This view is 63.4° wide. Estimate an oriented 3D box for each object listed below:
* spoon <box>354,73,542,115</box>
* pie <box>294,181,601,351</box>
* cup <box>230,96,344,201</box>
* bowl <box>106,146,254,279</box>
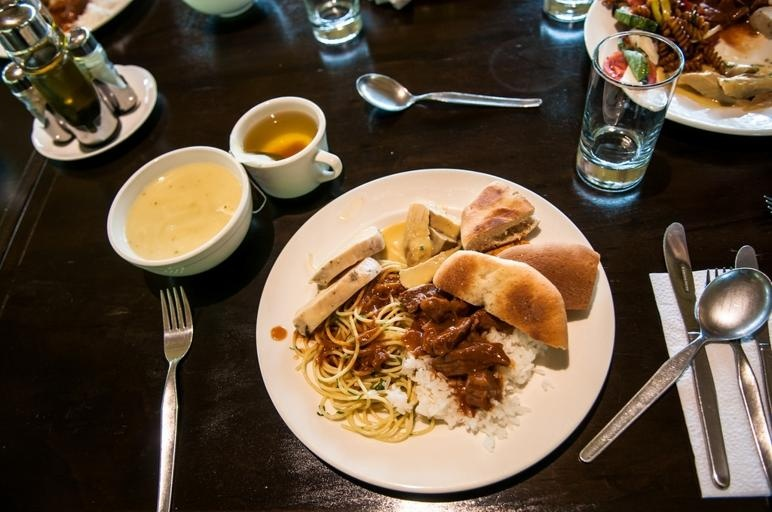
[{"bbox_3d":[0.278,-0.720,2.948,0.854,0.070,0.178,10,69,9],"label":"spoon"},{"bbox_3d":[0.344,0.148,2.431,0.770,0.161,0.782,38,82,18],"label":"pie"},{"bbox_3d":[-0.387,-0.427,2.859,0.495,0.308,0.413,32,77,9],"label":"cup"},{"bbox_3d":[-0.857,-0.203,2.652,0.604,0.163,0.535,-33,69,-8],"label":"bowl"}]
